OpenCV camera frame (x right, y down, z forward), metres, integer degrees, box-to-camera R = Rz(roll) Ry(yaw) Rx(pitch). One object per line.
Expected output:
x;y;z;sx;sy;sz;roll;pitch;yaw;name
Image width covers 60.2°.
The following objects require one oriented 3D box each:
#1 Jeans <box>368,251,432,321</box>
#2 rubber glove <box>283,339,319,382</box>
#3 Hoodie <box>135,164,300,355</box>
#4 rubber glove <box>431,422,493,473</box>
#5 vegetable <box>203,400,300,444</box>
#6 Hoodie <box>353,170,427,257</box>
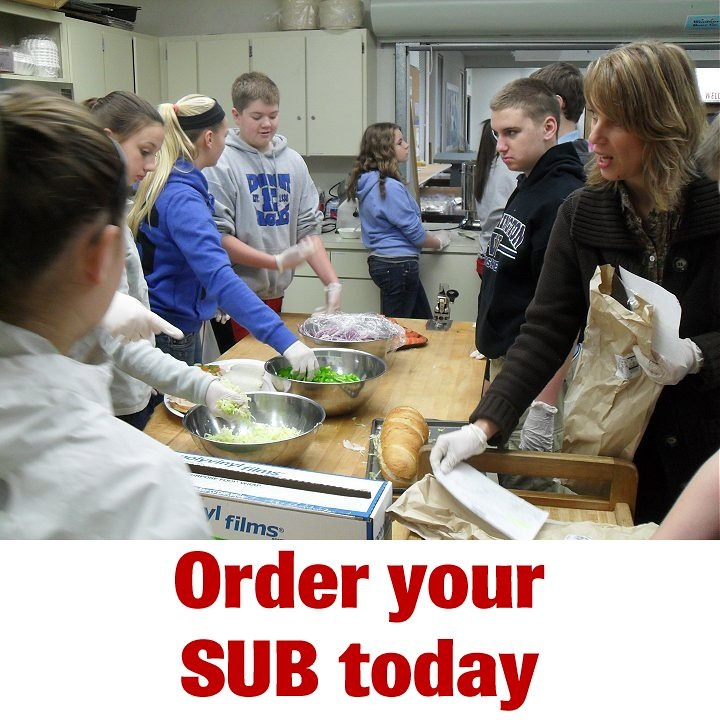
0.290;-0.514;4.181;0.259;0.687;0.197;-10;53;1;Jeans
-0.171;-0.001;1.854;0.042;0.111;0.083;-32;0;5;rubber glove
-0.553;-0.401;2.406;0.473;0.838;0.667;-10;39;-23;Hoodie
0.201;0.190;1.299;0.195;0.076;0.054;-15;21;-42;rubber glove
-0.252;0.148;1.504;0.148;0.038;0.140;-5;20;-33;vegetable
0.203;-0.967;4.136;0.467;0.557;0.263;0;17;7;Hoodie
